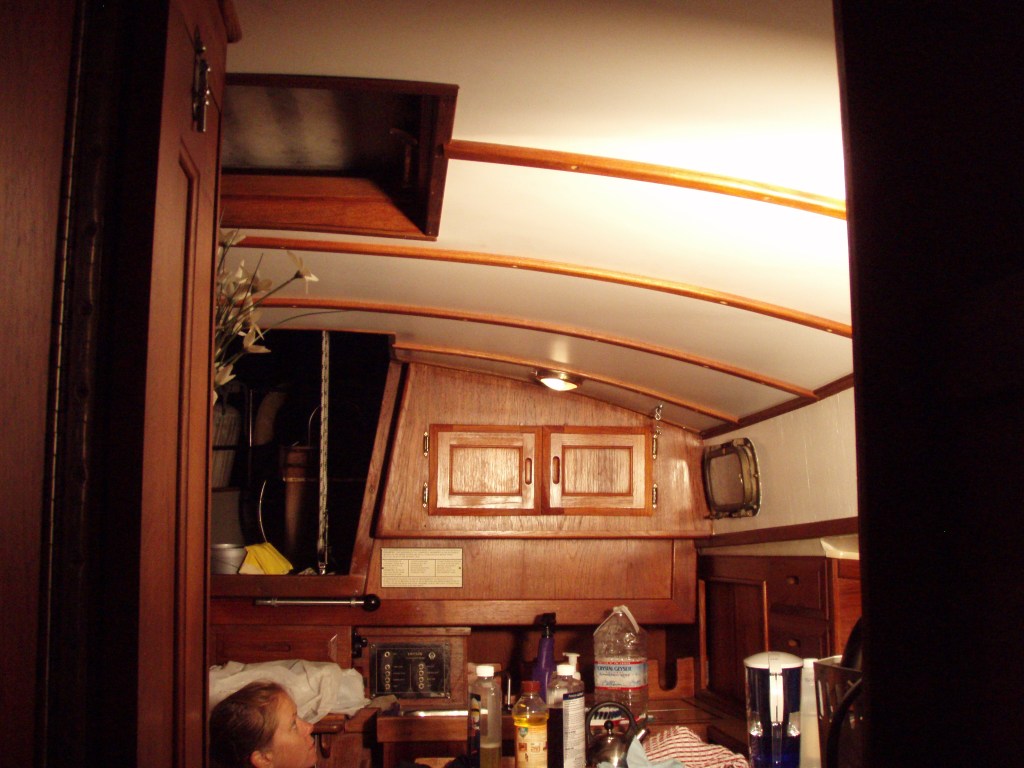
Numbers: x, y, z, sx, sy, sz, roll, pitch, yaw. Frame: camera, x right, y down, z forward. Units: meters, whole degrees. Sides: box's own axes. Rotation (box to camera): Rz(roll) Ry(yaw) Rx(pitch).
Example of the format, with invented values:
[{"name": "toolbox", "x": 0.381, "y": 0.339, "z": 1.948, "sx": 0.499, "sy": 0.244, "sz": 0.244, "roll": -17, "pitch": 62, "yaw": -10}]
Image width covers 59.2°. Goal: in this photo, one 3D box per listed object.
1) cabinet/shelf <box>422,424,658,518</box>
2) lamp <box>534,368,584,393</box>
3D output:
[{"name": "cabinet/shelf", "x": 0.145, "y": 0.385, "z": 4.200, "sx": 0.809, "sy": 0.447, "sz": 0.202, "roll": -1, "pitch": -3, "yaw": -5}, {"name": "lamp", "x": 0.208, "y": -0.021, "z": 3.815, "sx": 0.176, "sy": 0.057, "sz": 0.190, "roll": 11, "pitch": -15, "yaw": -40}]
